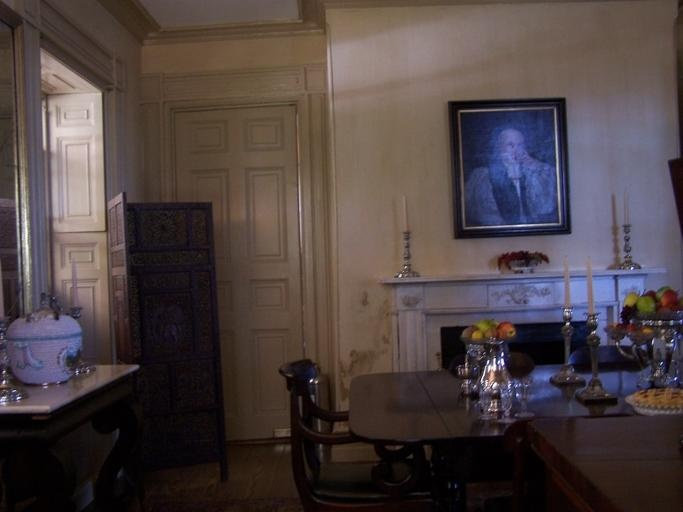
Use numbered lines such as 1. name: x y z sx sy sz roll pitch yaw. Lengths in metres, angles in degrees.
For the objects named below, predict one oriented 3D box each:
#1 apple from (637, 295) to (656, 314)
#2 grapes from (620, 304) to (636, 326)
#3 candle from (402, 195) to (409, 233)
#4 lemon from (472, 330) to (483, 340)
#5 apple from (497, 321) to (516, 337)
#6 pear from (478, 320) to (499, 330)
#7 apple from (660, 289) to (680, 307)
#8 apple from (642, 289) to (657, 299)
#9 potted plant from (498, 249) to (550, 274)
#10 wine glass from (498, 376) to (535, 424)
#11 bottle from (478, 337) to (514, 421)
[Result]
1. apple: 1.547 0.252 3.158 0.078 0.081 0.081 0 9 21
2. grapes: 1.517 0.312 3.266 0.051 0.087 0.079 14 -31 -29
3. candle: 0.490 -0.328 4.800 0.054 0.275 0.166 -3 0 6
4. lemon: 0.710 0.410 3.231 0.043 0.045 0.043 3 3 3
5. apple: 0.839 0.381 3.166 0.085 0.083 0.112 -3 0 13
6. pear: 0.774 0.364 3.290 0.099 0.050 0.147 -3 0 16
7. apple: 1.663 0.213 3.142 0.081 0.091 0.106 -3 0 28
8. apple: 1.621 0.198 3.266 0.061 0.059 0.063 -1 7 4
9. potted plant: 1.416 0.042 4.836 0.415 0.168 0.177 -3 0 10
10. wine glass: 0.845 0.705 2.998 0.173 0.205 0.181 -1 -6 0
11. bottle: 0.734 0.585 2.993 0.167 0.409 0.173 -2 -4 0
